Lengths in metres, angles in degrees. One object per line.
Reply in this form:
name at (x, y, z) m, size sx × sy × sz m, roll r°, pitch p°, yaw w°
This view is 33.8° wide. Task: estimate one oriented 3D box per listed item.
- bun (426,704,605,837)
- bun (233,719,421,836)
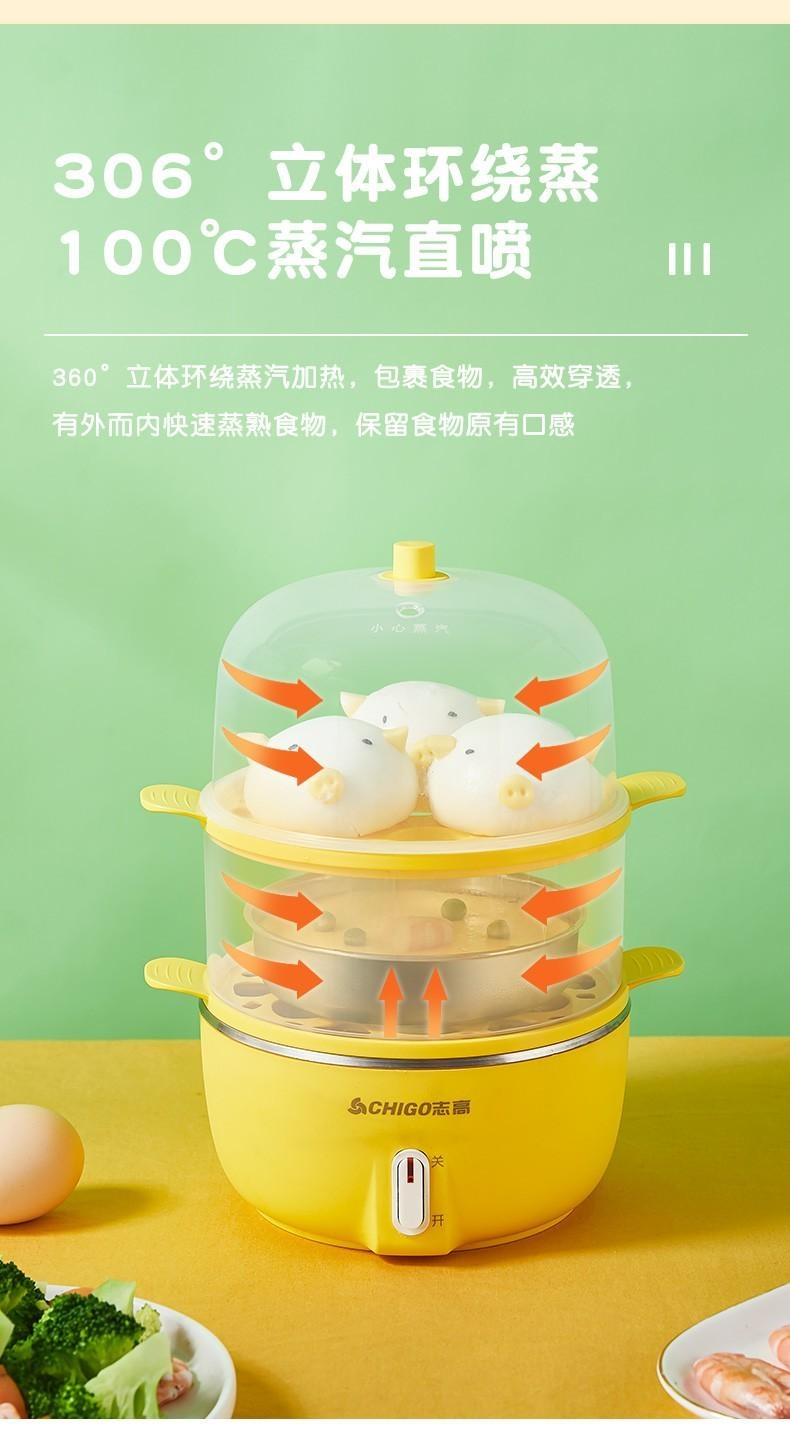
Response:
bun at (0.078, 0.053, 1.094) m, size 0.121 × 0.064 × 0.082 m, roll -19°, pitch -3°, yaw -38°
bun at (-0.058, 0.030, 1.115) m, size 0.161 × 0.071 × 0.173 m, roll 0°, pitch 17°, yaw 11°
